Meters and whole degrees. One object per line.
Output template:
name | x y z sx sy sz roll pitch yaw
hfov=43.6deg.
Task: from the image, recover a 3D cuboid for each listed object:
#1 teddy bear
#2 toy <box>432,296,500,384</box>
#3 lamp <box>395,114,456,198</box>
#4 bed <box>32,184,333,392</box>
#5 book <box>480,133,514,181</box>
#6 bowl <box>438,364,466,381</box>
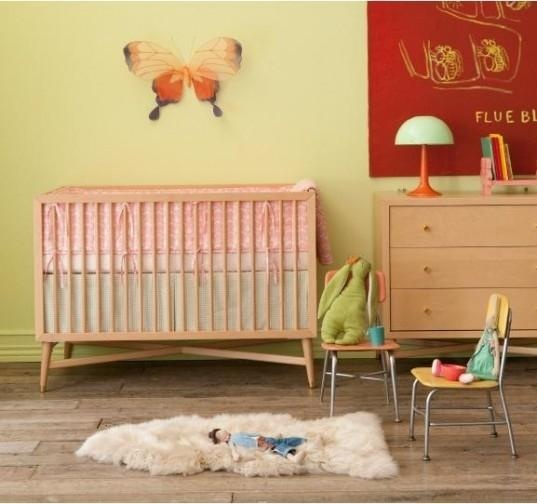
teddy bear | 0.383 0.228 3.229 0.373 0.371 0.203 14 2 7
toy | 0.793 0.328 2.608 0.281 0.316 0.177 -7 12 -31
lamp | 0.842 -0.533 3.678 0.300 0.431 0.437 0 9 9
bed | -0.241 0.156 3.752 1.824 0.868 0.917 0 -2 31
book | 1.237 -0.526 3.667 0.153 0.258 0.211 0 10 8
bowl | 0.701 0.465 2.587 0.085 0.036 0.066 6 -8 -2
